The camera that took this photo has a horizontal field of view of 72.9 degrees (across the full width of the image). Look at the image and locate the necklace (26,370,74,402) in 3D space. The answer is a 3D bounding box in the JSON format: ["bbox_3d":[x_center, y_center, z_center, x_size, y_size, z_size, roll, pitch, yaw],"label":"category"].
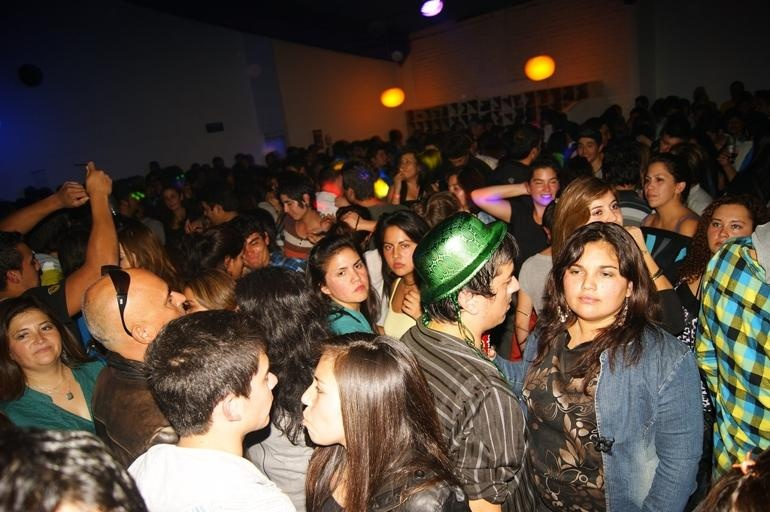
[{"bbox_3d":[-2.110,0.829,3.319,0.245,0.172,0.086,14,-8,-25],"label":"necklace"}]

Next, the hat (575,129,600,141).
[{"bbox_3d":[2.401,-1.422,6.135,0.256,0.184,0.222,-5,10,20],"label":"hat"}]

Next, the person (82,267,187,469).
[{"bbox_3d":[-1.333,0.607,2.790,0.432,0.709,0.806,-31,34,-27],"label":"person"}]

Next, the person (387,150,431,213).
[{"bbox_3d":[0.310,-0.938,6.125,0.502,0.708,0.409,8,18,11],"label":"person"}]

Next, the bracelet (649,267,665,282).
[{"bbox_3d":[1.742,0.110,3.355,0.079,0.019,0.079,-34,0,-42],"label":"bracelet"}]
